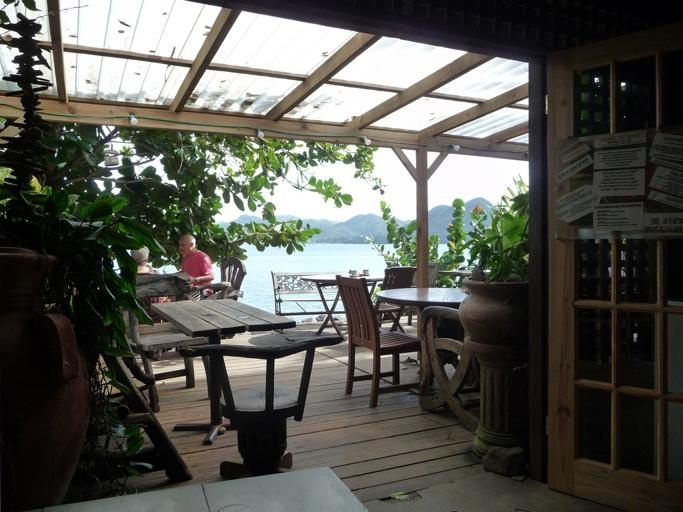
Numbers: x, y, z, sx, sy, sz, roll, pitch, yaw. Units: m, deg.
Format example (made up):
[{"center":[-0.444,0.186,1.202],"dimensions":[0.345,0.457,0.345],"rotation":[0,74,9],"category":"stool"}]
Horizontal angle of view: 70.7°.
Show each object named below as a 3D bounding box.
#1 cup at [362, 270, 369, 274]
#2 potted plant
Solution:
[{"center":[0.379,0.258,7.447],"dimensions":[0.070,0.074,0.069],"rotation":[-3,23,1],"category":"cup"},{"center":[1.071,0.461,3.385],"dimensions":[0.464,1.795,0.578],"rotation":[1,4,14],"category":"potted plant"}]
